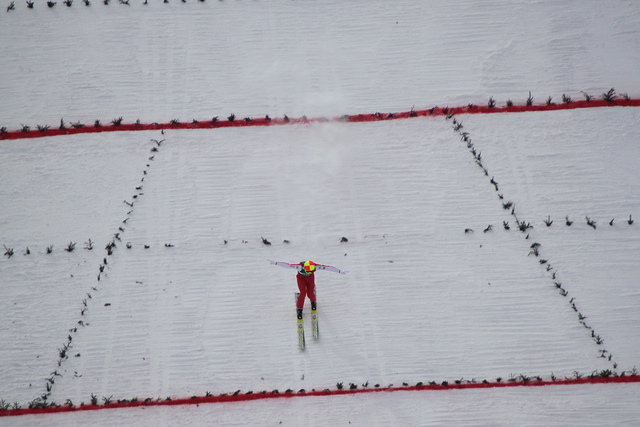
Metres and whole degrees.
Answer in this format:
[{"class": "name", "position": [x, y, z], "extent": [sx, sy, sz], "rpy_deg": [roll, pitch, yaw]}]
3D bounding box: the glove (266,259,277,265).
[{"class": "glove", "position": [-1.470, 1.460, 44.981], "extent": [0.198, 0.173, 0.066], "rpy_deg": [-42, -25, 25]}]
